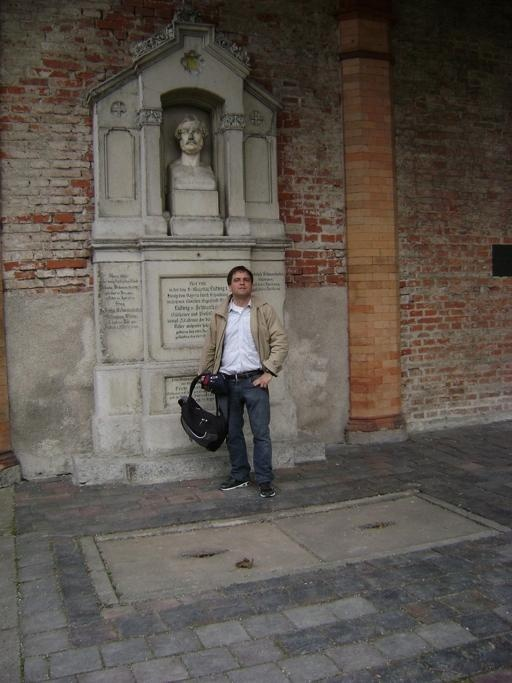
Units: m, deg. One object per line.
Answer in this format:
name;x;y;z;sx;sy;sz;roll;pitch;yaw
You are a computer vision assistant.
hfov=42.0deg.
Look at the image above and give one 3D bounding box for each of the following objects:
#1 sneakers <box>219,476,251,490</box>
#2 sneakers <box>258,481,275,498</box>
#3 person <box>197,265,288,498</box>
sneakers;-0.175;1.134;5.306;0.238;0.084;0.081;2;-1;-26
sneakers;0.066;1.125;5.057;0.111;0.053;0.171;-1;2;-8
person;-0.091;0.402;5.202;0.609;1.519;0.326;3;6;39
